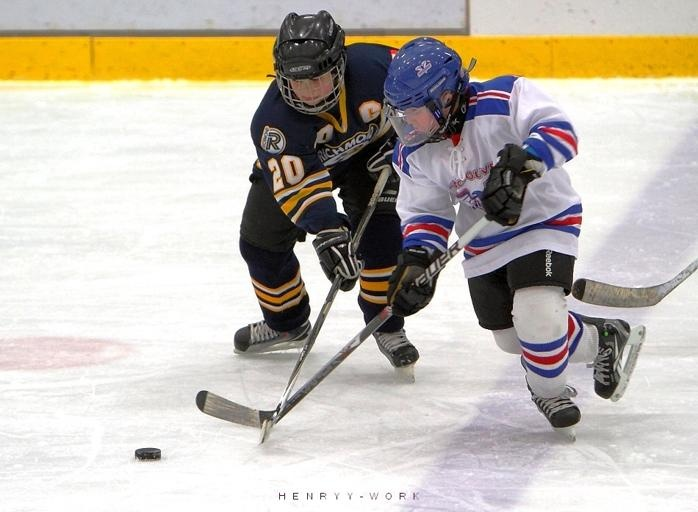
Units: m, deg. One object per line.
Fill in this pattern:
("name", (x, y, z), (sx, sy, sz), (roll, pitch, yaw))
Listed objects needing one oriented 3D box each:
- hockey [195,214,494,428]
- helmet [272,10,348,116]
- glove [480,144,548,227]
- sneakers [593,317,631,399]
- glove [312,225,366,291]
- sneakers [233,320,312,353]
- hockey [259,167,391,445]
("hockey", (0.010, 0.280, 3.770), (1.409, 0.071, 0.269), (-30, 63, -25))
("helmet", (-0.132, -0.766, 3.697), (0.333, 0.329, 0.347), (-7, 41, 6))
("glove", (0.540, -0.236, 3.156), (0.239, 0.252, 0.116), (27, 16, 2))
("sneakers", (0.940, 0.372, 3.485), (0.162, 0.282, 0.111), (13, -8, -42))
("glove", (-0.043, 0.007, 3.644), (0.186, 0.239, 0.110), (-26, 7, -3))
("sneakers", (-0.339, 0.332, 4.107), (0.404, 0.131, 0.116), (-4, 22, -19))
("hockey", (-0.090, 0.193, 3.736), (0.104, 0.191, 1.158), (37, 64, -15))
